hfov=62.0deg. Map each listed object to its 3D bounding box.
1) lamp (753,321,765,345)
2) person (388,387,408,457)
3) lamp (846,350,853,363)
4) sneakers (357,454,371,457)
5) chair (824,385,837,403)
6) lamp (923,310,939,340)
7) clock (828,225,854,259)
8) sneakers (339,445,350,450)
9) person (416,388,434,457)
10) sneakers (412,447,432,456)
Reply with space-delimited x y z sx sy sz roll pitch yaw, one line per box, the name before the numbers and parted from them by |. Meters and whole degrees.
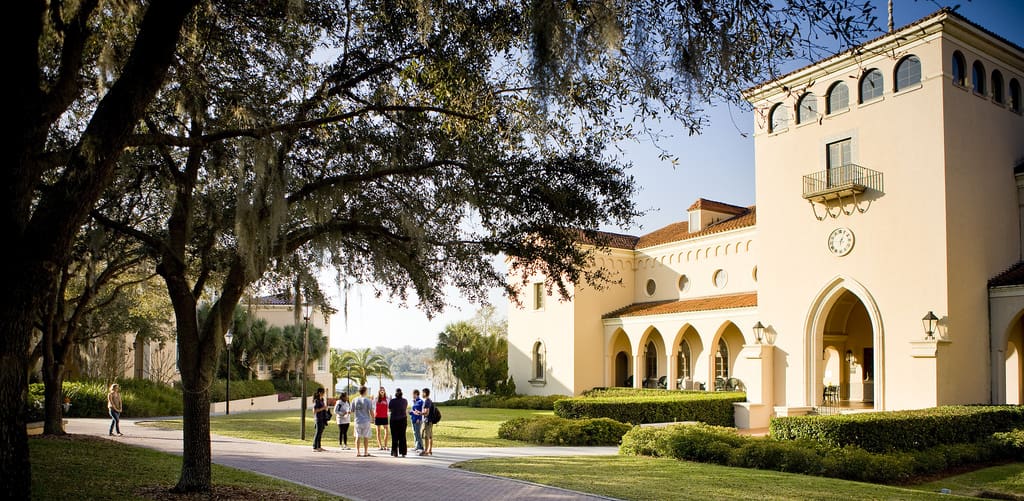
lamp | 11.599 3.890 40.073 0.537 1.008 0.491 -9 -19 33
person | -4.347 6.545 32.226 0.722 2.491 1.010 0 -16 3
lamp | 17.054 5.370 42.930 0.444 0.690 0.222 -8 -18 30
sneakers | -5.570 7.725 31.925 0.466 0.122 0.181 -2 -11 4
chair | 15.276 6.912 40.688 0.817 0.820 0.809 1 -9 -2
lamp | 17.325 3.144 35.237 0.657 1.116 0.423 -11 -20 37
clock | 14.774 -0.349 38.035 0.220 1.593 1.496 12 -7 -30
sneakers | -6.584 7.855 33.640 0.394 0.162 0.136 -9 -12 30
person | -3.274 6.662 32.857 0.553 2.538 1.306 3 -16 -5
sneakers | -3.434 7.708 32.389 0.690 0.289 0.234 -3 -12 26
